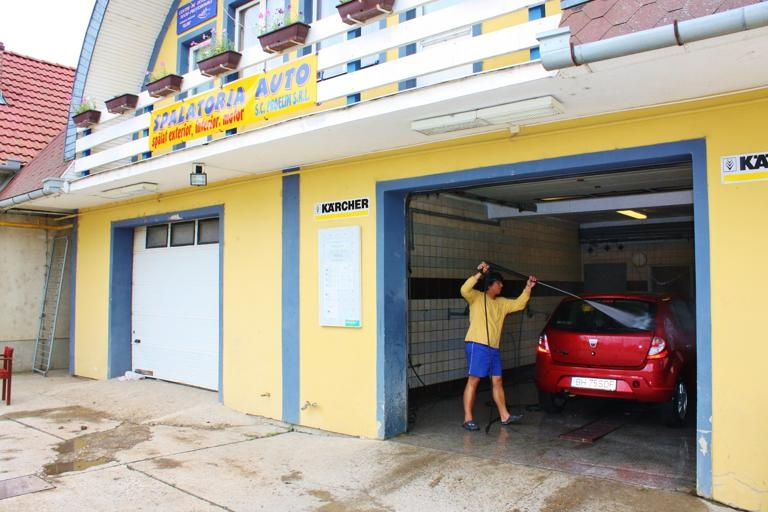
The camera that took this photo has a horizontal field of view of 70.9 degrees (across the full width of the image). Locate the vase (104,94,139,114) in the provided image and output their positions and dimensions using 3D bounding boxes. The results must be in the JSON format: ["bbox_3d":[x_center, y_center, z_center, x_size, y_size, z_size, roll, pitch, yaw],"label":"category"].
[{"bbox_3d":[-4.579,-2.668,9.475,0.839,0.291,0.148,0,3,36],"label":"vase"}]

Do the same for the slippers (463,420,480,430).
[{"bbox_3d":[1.324,2.589,8.267,0.132,0.080,0.223,3,-11,-32],"label":"slippers"}]

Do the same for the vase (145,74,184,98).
[{"bbox_3d":[-3.593,-2.766,8.849,0.667,0.316,0.218,0,3,35],"label":"vase"}]

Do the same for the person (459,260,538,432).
[{"bbox_3d":[1.651,1.358,8.396,0.969,2.552,0.804,-2,3,-11],"label":"person"}]

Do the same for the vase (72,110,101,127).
[{"bbox_3d":[-5.619,-2.603,10.257,0.615,0.300,0.218,0,3,36],"label":"vase"}]

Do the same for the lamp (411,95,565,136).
[{"bbox_3d":[1.211,-1.682,6.592,1.888,0.169,0.550,-2,-9,40],"label":"lamp"}]

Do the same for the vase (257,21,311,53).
[{"bbox_3d":[-1.381,-2.973,7.441,0.768,0.295,0.245,0,2,37],"label":"vase"}]

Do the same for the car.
[{"bbox_3d":[3.388,1.365,7.978,1.626,1.146,2.799,-3,-2,39],"label":"car"}]

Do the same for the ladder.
[{"bbox_3d":[-8.114,1.073,13.263,0.535,3.404,0.882,0,3,28],"label":"ladder"}]
